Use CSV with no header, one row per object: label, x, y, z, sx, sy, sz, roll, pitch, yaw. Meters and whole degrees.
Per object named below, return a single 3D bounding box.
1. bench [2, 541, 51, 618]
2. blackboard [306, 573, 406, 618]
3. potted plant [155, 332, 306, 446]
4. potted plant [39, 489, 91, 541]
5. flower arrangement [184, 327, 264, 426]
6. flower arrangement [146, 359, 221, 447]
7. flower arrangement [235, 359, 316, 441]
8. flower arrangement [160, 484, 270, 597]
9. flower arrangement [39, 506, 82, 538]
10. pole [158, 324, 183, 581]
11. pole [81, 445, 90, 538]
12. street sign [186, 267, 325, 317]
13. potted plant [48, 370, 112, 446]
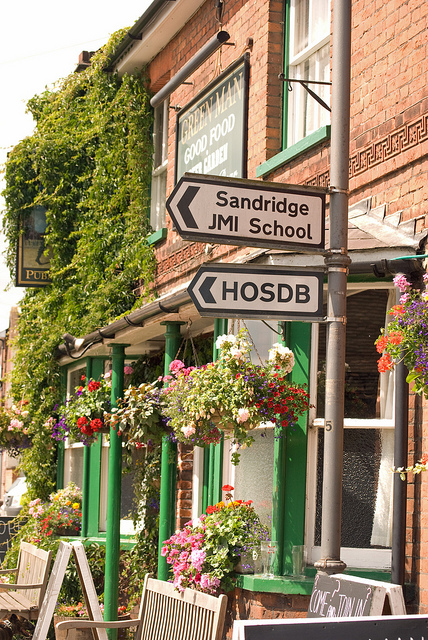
bench,-1.456,2.019,9.409,0.448,0.496,0.865,2,-9,-20
blackboard,0.634,1.259,5.522,0.468,0.193,0.162,-6,-13,38
potted plant,0.087,0.457,7.472,0.444,0.410,0.650,-8,16,-8
potted plant,-1.547,1.982,12.391,0.418,0.390,0.505,1,-7,3
flower arrangement,0.046,0.400,7.400,0.378,0.632,0.442,3,-8,-28
flower arrangement,-0.139,0.534,8.172,0.526,0.456,0.589,12,-16,-40
flower arrangement,0.364,0.482,7.227,0.365,0.305,0.391,7,-6,22
flower arrangement,-0.034,1.423,7.872,0.528,0.709,0.991,7,-11,-29
flower arrangement,-1.576,2.053,12.361,0.410,0.318,0.362,4,-10,-11
pole,-0.367,0.903,9.500,0.207,1.674,0.284,0,-3,-27
pole,-1.291,1.699,12.099,0.077,0.924,0.078,1,0,9
street sign,0.197,-0.130,5.726,0.655,0.303,0.012,2,35,2
potted plant,-1.299,0.849,11.693,0.496,0.784,2.319,3,-11,-8
